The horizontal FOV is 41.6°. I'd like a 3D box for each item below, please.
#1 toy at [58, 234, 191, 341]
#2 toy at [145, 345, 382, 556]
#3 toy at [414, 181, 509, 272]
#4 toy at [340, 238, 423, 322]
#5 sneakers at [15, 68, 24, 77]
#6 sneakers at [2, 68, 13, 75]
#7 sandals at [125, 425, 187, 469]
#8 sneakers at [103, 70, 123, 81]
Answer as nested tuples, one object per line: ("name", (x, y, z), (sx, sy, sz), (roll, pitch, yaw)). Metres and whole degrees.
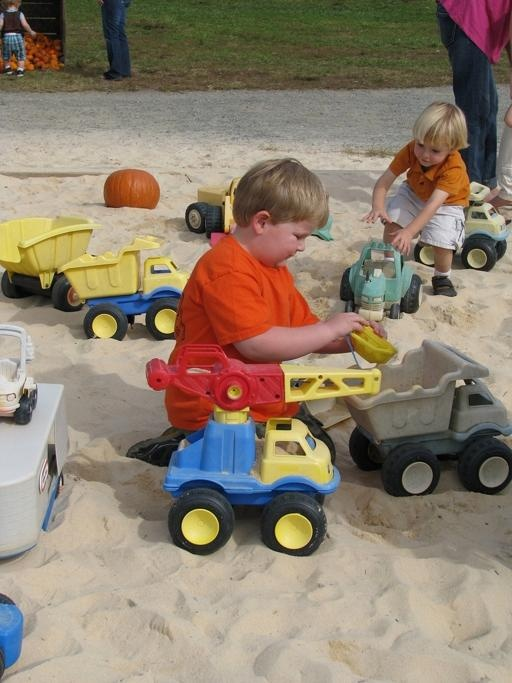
("toy", (-0.816, -0.327, 4.232), (0.964, 0.643, 0.576), (2, 10, -1))
("toy", (0.023, 0.366, 2.182), (0.731, 0.528, 0.350), (2, 12, 0))
("toy", (1.713, -0.949, 5.620), (0.972, 0.746, 0.589), (4, 35, 11))
("toy", (0.822, -0.408, 4.385), (0.502, 0.375, 0.614), (3, 15, 13))
("sneakers", (-6.120, -6.935, 17.433), (0.214, 0.204, 0.529), (1, 9, -19))
("sneakers", (-6.512, -7.080, 17.641), (0.184, 0.188, 0.450), (-1, 20, -10))
("sandals", (-0.378, 0.406, 2.687), (0.241, 0.094, 0.160), (-13, 34, -23))
("sneakers", (-3.600, -6.640, 16.853), (0.543, 0.185, 0.192), (2, 17, -5))
